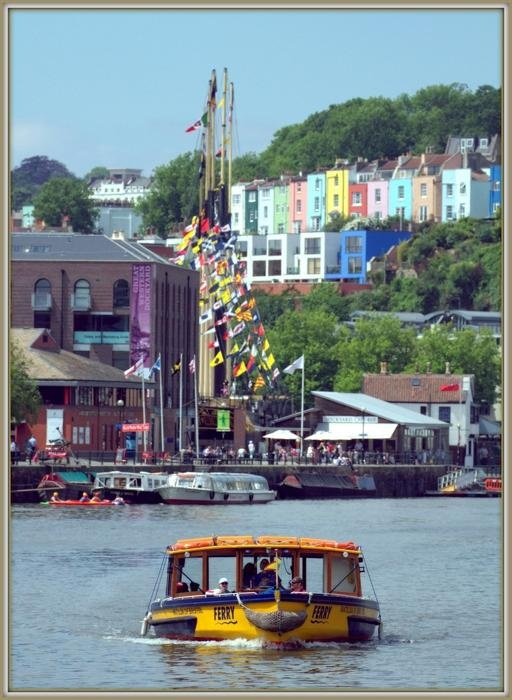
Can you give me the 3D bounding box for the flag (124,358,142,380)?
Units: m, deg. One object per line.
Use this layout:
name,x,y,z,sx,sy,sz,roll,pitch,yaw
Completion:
flag,-6.728,0.891,109.553,1.153,0.779,3.965,8,1,2

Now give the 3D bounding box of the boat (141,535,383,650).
boat,0.157,5.101,48.134,3.143,3.626,5.278,-2,-10,-8

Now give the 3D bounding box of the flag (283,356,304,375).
flag,2.309,0.863,130.869,1.113,1.658,0.162,-7,-12,37
